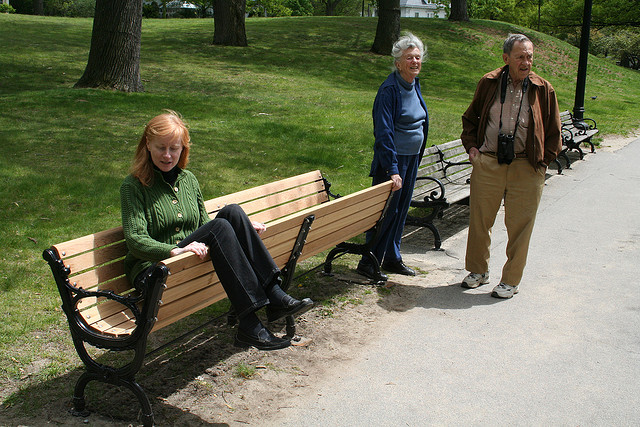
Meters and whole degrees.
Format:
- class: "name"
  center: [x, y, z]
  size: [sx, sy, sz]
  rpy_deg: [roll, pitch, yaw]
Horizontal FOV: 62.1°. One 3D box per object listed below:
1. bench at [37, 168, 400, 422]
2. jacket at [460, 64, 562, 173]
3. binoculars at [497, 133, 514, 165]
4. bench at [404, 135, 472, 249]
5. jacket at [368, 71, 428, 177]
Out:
- class: "bench"
  center: [0.109, 0.462, 6.006]
  size: [1.716, 1.927, 5.459]
  rpy_deg: [8, 16, 38]
- class: "jacket"
  center: [2.270, -1.141, 6.239]
  size: [1.148, 1.067, 0.631]
  rpy_deg: [9, 7, 27]
- class: "binoculars"
  center: [2.091, -0.718, 5.968]
  size: [0.181, 0.317, 0.137]
  rpy_deg: [4, 23, 19]
- class: "bench"
  center: [1.712, -0.244, 7.792]
  size: [0.483, 0.609, 1.761]
  rpy_deg: [6, 20, 26]
- class: "jacket"
  center: [0.768, -0.981, 6.102]
  size: [0.336, 1.227, 0.550]
  rpy_deg: [3, 20, 4]
